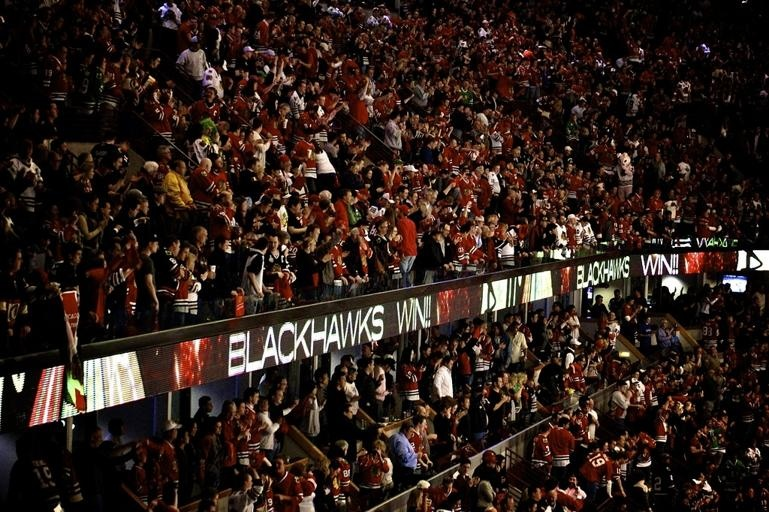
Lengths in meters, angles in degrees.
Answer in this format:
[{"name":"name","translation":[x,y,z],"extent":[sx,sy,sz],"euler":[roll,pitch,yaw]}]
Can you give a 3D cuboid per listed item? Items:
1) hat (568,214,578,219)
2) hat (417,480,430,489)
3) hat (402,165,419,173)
[{"name":"hat","translation":[5.409,-1.094,24.527],"extent":[0.194,0.194,0.068],"euler":[1,91,-23]},{"name":"hat","translation":[0.742,4.317,16.136],"extent":[0.260,0.360,0.159],"euler":[2,73,-6]},{"name":"hat","translation":[0.646,-2.137,21.297],"extent":[0.293,0.200,0.119],"euler":[10,99,2]}]
